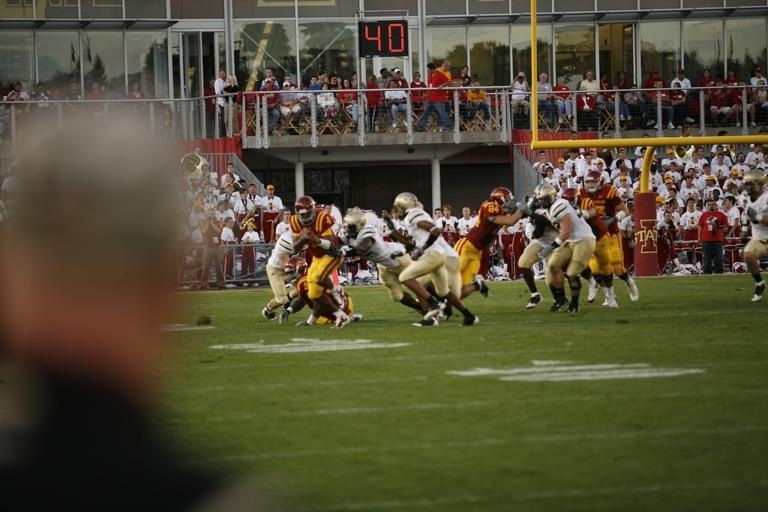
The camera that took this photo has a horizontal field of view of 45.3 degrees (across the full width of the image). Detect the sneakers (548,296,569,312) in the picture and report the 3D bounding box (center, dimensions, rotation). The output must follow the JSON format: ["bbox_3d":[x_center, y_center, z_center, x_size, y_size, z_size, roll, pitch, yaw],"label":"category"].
[{"bbox_3d":[1.959,0.543,10.289,0.333,0.136,0.109,-9,13,-40],"label":"sneakers"}]

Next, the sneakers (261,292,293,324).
[{"bbox_3d":[-1.144,0.558,9.901,0.287,0.202,0.613,-20,-2,3],"label":"sneakers"}]

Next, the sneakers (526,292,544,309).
[{"bbox_3d":[1.749,0.517,10.541,0.106,0.133,0.319,-9,22,43],"label":"sneakers"}]

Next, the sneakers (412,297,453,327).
[{"bbox_3d":[0.480,0.569,9.052,0.167,0.293,0.481,5,-8,-44],"label":"sneakers"}]

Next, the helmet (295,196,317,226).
[{"bbox_3d":[-0.773,-0.447,9.045,0.199,0.264,0.239,-1,-19,2],"label":"helmet"}]

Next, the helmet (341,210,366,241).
[{"bbox_3d":[-0.331,-0.306,9.296,0.292,0.282,0.221,-7,10,-12],"label":"helmet"}]

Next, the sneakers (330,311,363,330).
[{"bbox_3d":[-0.381,0.629,9.224,0.115,0.161,0.392,1,9,30],"label":"sneakers"}]

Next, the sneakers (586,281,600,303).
[{"bbox_3d":[2.608,0.452,11.425,0.082,0.268,0.115,6,-14,40],"label":"sneakers"}]

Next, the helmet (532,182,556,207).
[{"bbox_3d":[1.745,-0.659,10.153,0.219,0.268,0.283,1,20,40],"label":"helmet"}]

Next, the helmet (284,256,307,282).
[{"bbox_3d":[-0.915,0.123,9.786,0.271,0.264,0.225,0,1,-1],"label":"helmet"}]

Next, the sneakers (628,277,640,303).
[{"bbox_3d":[3.028,0.420,11.116,0.079,0.289,0.087,-13,-14,-10],"label":"sneakers"}]
